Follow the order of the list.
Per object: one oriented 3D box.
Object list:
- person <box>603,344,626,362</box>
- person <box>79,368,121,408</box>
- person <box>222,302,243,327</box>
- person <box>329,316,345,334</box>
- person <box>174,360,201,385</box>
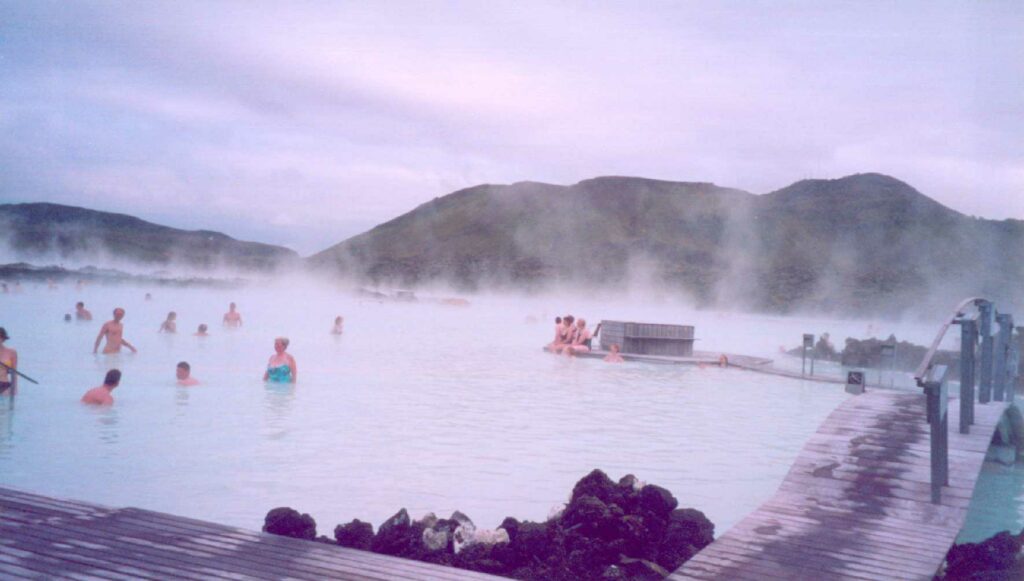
[{"bbox_3d":[4.267,2.691,36.049,0.290,0.785,0.580,13,-21,-33],"label":"person"},{"bbox_3d":[-12.735,2.996,26.474,0.950,1.239,1.606,4,-2,-29],"label":"person"},{"bbox_3d":[-17.602,1.587,53.888,1.589,2.019,0.673,1,-5,-24],"label":"person"},{"bbox_3d":[-9.547,1.974,46.716,0.552,0.997,1.558,3,-2,-17],"label":"person"},{"bbox_3d":[-11.151,2.990,29.430,1.248,0.784,0.764,-4,15,-18],"label":"person"}]
